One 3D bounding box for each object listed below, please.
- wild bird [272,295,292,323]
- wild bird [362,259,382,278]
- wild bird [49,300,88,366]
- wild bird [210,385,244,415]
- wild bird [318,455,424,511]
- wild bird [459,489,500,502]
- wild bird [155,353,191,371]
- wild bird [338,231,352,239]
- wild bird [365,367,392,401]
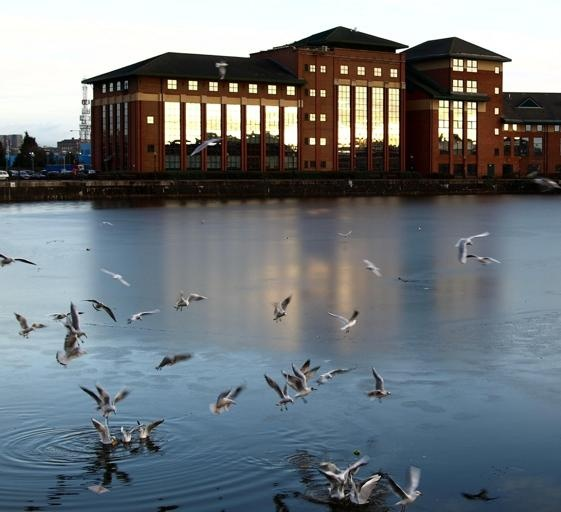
[{"bbox_3d":[0.028,1.004,18.448,0.311,0.352,0.541,-8,-4,23],"label":"wild bird"},{"bbox_3d":[2.333,0.348,25.679,0.140,0.257,0.418,35,12,-18],"label":"wild bird"},{"bbox_3d":[-3.211,1.205,15.242,0.509,0.368,0.904,-9,15,-8],"label":"wild bird"},{"bbox_3d":[-0.659,1.804,12.453,0.270,0.243,0.405,24,27,21],"label":"wild bird"},{"bbox_3d":[0.839,2.371,10.273,0.752,0.369,0.785,20,2,5],"label":"wild bird"},{"bbox_3d":[2.094,2.541,10.650,0.343,0.055,0.215,-2,5,-16],"label":"wild bird"},{"bbox_3d":[-1.466,1.472,13.848,0.328,0.152,0.321,15,19,33],"label":"wild bird"},{"bbox_3d":[2.643,-0.856,41.416,0.500,0.189,0.384,-2,-23,-36],"label":"wild bird"},{"bbox_3d":[1.287,1.666,13.070,0.396,0.550,0.240,0,26,11],"label":"wild bird"}]
